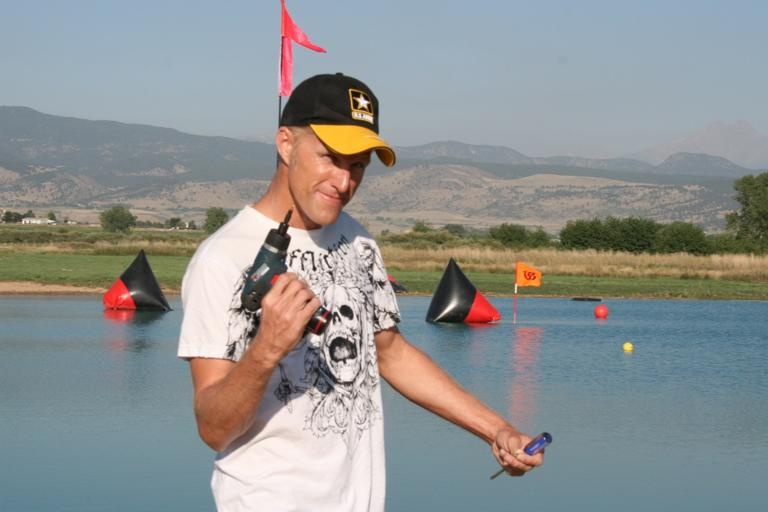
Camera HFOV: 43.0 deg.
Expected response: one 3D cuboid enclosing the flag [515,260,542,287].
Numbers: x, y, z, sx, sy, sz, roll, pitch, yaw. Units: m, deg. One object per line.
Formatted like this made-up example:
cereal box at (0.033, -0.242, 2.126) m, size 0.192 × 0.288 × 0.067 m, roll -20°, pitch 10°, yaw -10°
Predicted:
flag at (5.106, 0.650, 34.621) m, size 1.163 × 1.139 × 0.212 m, roll 2°, pitch -20°, yaw -4°
